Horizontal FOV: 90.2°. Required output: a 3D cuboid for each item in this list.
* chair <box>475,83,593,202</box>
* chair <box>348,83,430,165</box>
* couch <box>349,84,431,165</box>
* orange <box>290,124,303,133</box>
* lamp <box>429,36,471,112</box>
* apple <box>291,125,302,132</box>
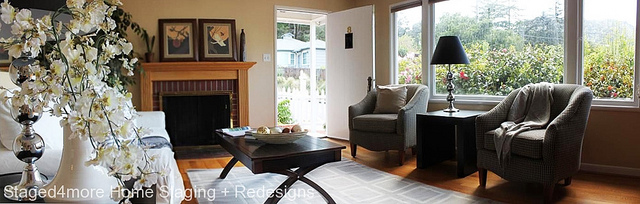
[{"bbox_3d":[4.591,0.805,6.939,2.269,2.405,1.244,0,10,9],"label":"chair"},{"bbox_3d":[1.745,0.520,8.245,1.656,1.907,1.212,3,11,28],"label":"chair"},{"bbox_3d":[1.890,0.379,8.305,2.080,1.285,1.764,-2,17,33],"label":"couch"},{"bbox_3d":[-0.488,0.551,6.686,0.247,0.090,0.182,-1,0,-1],"label":"orange"},{"bbox_3d":[3.137,-0.653,7.857,1.401,1.780,0.847,-3,1,-37],"label":"lamp"},{"bbox_3d":[-0.499,0.552,6.633,0.198,0.119,0.085,-7,-5,9],"label":"apple"}]
